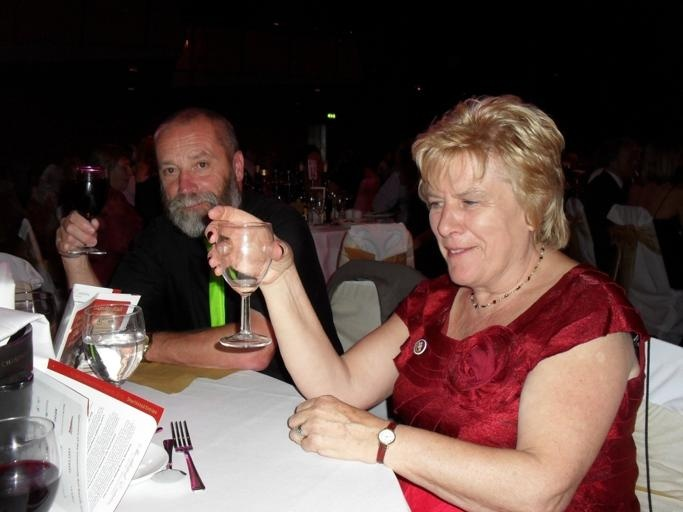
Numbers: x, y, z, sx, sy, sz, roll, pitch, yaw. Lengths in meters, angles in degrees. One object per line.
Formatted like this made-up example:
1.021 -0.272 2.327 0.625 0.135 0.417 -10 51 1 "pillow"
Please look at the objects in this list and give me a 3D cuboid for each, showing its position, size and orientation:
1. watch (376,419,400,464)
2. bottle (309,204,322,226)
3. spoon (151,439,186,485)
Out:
0.108 0.454 1.276 0.045 0.071 0.073 8 35 14 "watch"
-0.277 -0.453 5.541 0.180 0.180 0.328 -1 -14 -2 "bottle"
-0.390 0.464 1.184 0.071 0.029 0.197 -1 10 -12 "spoon"
